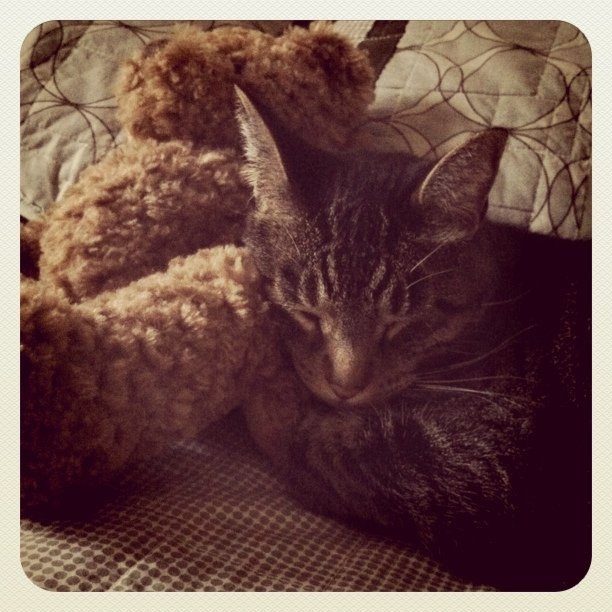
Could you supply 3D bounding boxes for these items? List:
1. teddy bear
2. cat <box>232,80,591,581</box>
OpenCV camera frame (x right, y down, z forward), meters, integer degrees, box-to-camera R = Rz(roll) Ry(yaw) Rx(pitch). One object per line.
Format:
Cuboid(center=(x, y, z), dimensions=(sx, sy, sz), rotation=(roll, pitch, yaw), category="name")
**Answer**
Cuboid(center=(-0.245, -0.101, 1.608), dimensions=(0.499, 0.892, 0.364), rotation=(18, -6, -38), category="teddy bear")
Cuboid(center=(0.261, -0.199, 1.938), dimensions=(0.665, 0.704, 1.173), rotation=(17, 32, 19), category="cat")
